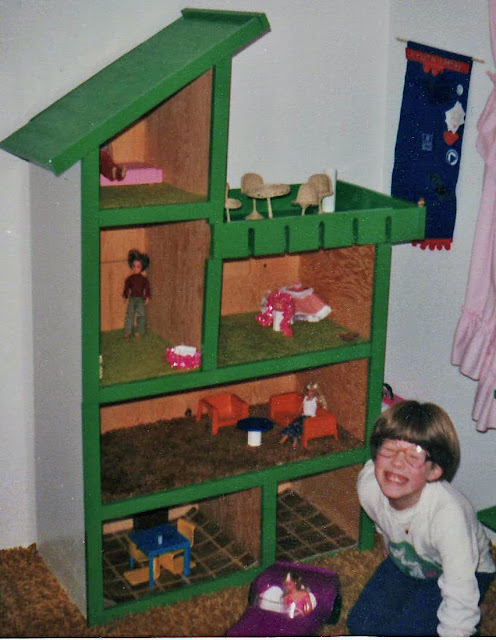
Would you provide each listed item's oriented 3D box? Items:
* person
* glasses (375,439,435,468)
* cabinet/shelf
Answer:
[{"bbox_3d":[0.532,0.680,2.107,0.232,0.834,0.503,-7,16,-26],"label":"person"},{"bbox_3d":[0.456,0.393,2.055,0.154,0.070,0.044,6,15,21],"label":"glasses"},{"bbox_3d":[-0.127,-0.029,2.377,1.208,1.989,0.569,-8,16,-31],"label":"cabinet/shelf"}]
